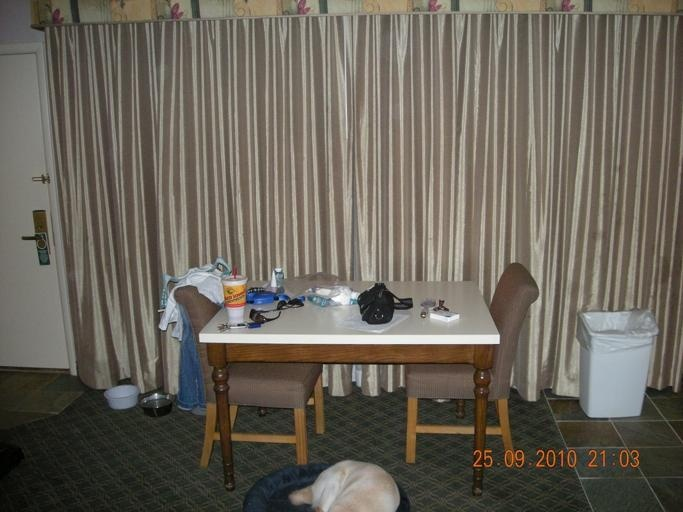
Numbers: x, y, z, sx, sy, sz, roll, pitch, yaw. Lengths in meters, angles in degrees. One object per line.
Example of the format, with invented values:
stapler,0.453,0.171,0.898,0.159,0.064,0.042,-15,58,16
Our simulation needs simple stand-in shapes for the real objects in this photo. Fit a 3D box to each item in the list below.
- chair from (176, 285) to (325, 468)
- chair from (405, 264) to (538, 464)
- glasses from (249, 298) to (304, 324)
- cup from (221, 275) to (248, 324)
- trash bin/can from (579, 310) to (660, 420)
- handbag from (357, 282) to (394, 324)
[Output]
chair,-0.530,0.778,3.461,0.843,1.034,0.870,10,-11,-37
chair,0.815,0.586,3.611,0.846,1.154,0.879,3,16,19
glasses,-0.389,0.325,3.252,0.230,0.076,0.135,-19,22,-32
cup,-0.600,0.254,3.083,0.150,0.251,0.155,-1,-1,0
trash bin/can,1.910,0.725,3.823,0.494,0.667,0.359,-2,16,1
handbag,0.185,0.261,3.151,0.159,0.223,0.217,2,0,-29
